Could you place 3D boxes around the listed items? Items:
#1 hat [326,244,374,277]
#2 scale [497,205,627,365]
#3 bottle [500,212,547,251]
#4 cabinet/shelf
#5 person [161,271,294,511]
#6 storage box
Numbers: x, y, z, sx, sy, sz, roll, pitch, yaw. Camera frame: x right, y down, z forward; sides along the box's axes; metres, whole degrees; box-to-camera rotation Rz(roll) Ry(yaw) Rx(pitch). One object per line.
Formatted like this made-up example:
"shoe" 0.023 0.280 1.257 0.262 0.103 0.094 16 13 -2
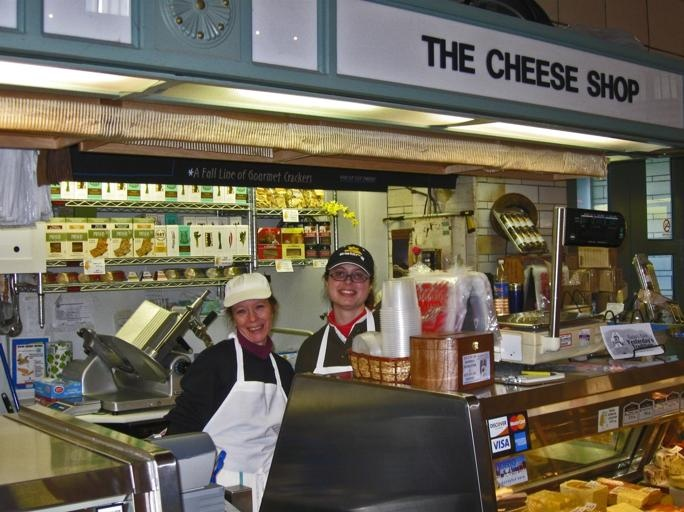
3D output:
"hat" 0.056 0.017 3.093 0.243 0.162 0.369 3 -7 2
"scale" 0.841 0.110 2.271 0.507 0.586 0.308 1 -1 -41
"bottle" 1.888 -0.257 6.130 0.469 0.445 0.117 -21 -16 -39
"cabinet/shelf" -1.495 -0.205 5.799 2.625 1.041 0.775 0 0 -26
"person" -0.538 0.559 2.788 0.599 0.937 0.849 0 0 -4
"storage box" 0.346 0.335 1.851 0.171 0.172 0.303 -5 -5 36
